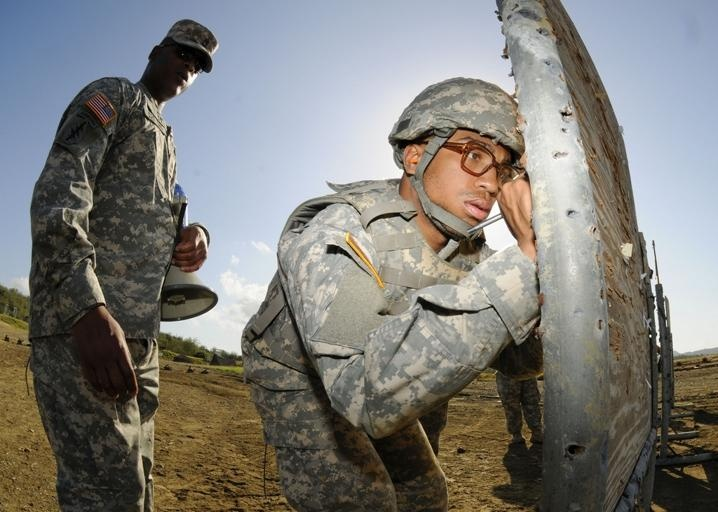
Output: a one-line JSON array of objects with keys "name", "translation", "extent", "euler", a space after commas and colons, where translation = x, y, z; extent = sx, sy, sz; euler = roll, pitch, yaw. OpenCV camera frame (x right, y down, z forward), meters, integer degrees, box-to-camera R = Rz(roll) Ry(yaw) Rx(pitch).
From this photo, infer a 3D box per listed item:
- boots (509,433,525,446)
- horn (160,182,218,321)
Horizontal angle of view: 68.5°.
[{"name": "boots", "translation": [1.869, 2.191, 6.302], "extent": [0.152, 0.164, 0.150], "euler": [2, -11, -41]}, {"name": "horn", "translation": [-0.947, -0.060, 2.761], "extent": [0.334, 0.690, 0.362], "euler": [9, 19, 28]}]
